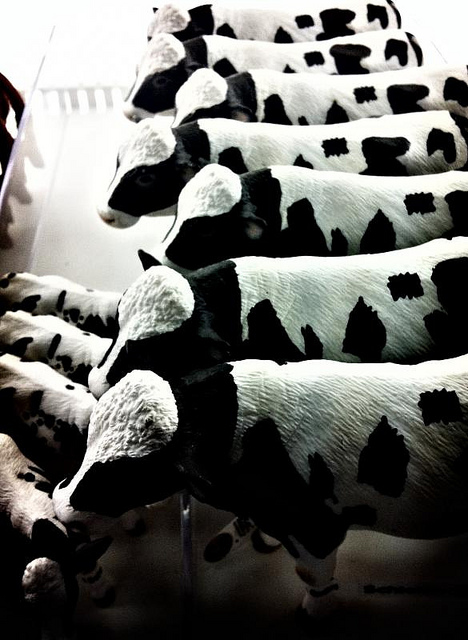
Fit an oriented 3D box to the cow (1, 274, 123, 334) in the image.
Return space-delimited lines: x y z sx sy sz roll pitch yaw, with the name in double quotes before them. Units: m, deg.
"cow" -0.381 -0.036 1.601 0.295 0.088 0.142 11 26 9
